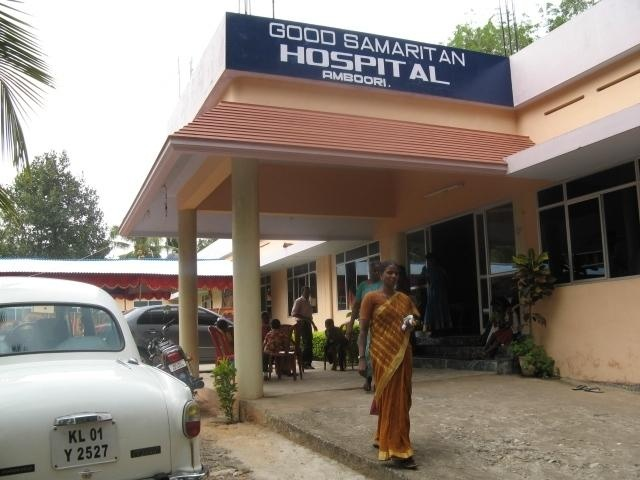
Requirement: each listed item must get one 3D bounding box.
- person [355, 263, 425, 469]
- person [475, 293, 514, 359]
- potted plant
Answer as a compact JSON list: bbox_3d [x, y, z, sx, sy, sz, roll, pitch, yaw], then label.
[{"bbox_3d":[0.724,1.258,5.595,0.620,2.042,0.460,-2,-8,3],"label":"person"},{"bbox_3d":[3.756,1.866,11.520,0.571,1.253,0.907,1,-9,-12],"label":"person"},{"bbox_3d":[4.283,1.434,10.837,0.875,2.573,1.261,-4,-9,19],"label":"potted plant"}]
